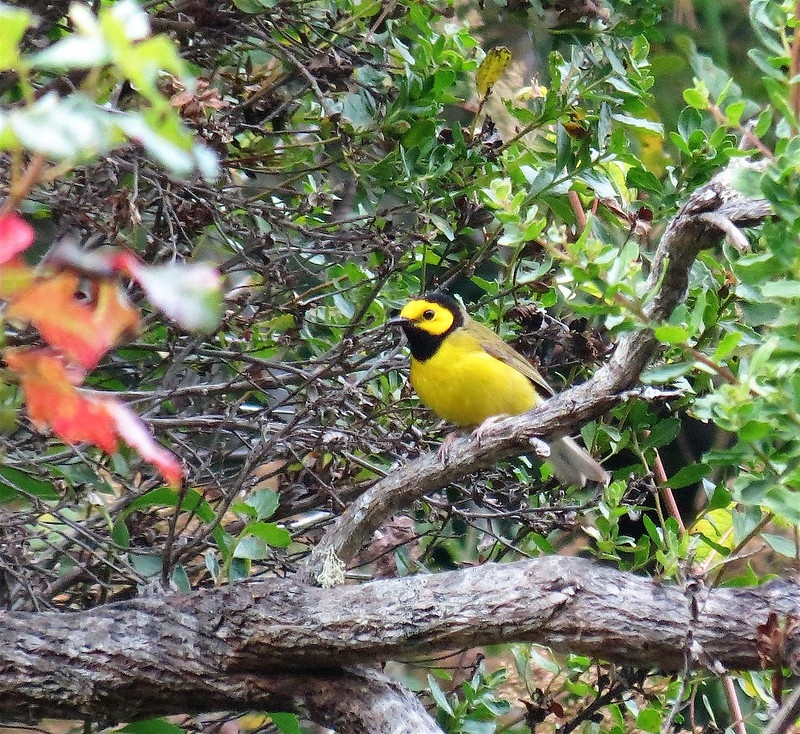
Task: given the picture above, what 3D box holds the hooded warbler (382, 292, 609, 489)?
[{"bbox_3d":[0.469,0.050,4.982,1.426,0.532,0.413,15,-8,-19],"label":"hooded warbler"}]
